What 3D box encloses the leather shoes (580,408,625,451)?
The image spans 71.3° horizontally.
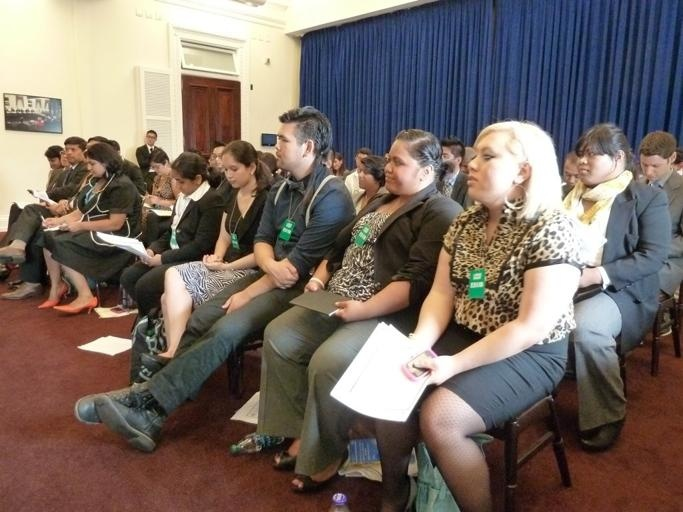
[{"bbox_3d":[1.261,0.852,2.348,0.148,0.193,0.137,-17,60,-5],"label":"leather shoes"}]

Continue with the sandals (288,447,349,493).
[{"bbox_3d":[-0.097,0.941,2.087,0.295,0.084,0.123,-23,34,-39],"label":"sandals"}]

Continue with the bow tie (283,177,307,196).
[{"bbox_3d":[-0.258,-0.402,2.704,0.102,0.117,0.049,10,29,29],"label":"bow tie"}]

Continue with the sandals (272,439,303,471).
[{"bbox_3d":[-0.235,0.910,2.237,0.084,0.067,0.236,1,12,25],"label":"sandals"}]

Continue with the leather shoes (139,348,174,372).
[{"bbox_3d":[-0.976,0.570,2.594,0.223,0.084,0.102,9,5,-24],"label":"leather shoes"}]

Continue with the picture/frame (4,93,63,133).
[{"bbox_3d":[-4.949,-2.300,7.560,0.647,0.509,0.023,-5,14,-37],"label":"picture/frame"}]

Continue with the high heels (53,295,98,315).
[{"bbox_3d":[-2.268,0.383,4.041,0.289,0.155,0.159,0,13,-28],"label":"high heels"}]
